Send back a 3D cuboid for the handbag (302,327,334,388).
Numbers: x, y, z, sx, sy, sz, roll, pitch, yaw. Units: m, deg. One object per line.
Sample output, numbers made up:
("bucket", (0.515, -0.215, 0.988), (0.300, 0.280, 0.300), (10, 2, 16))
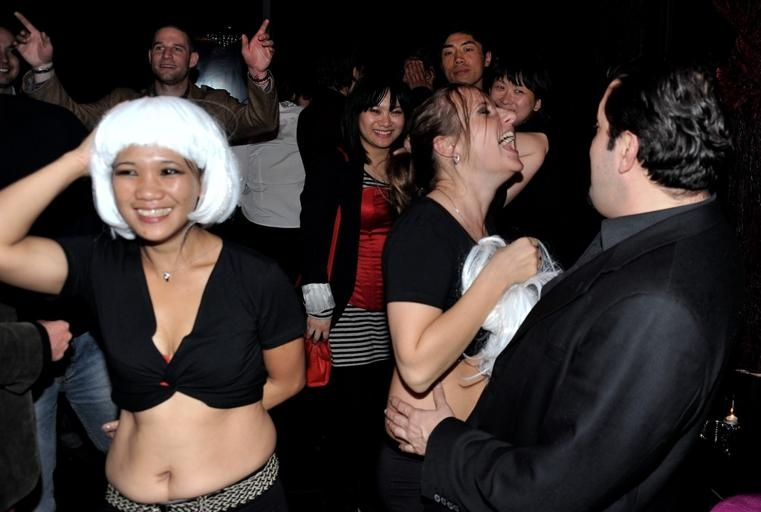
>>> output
("handbag", (-0.361, 0.642, 3.272), (0.151, 0.317, 0.330), (1, 12, -5))
